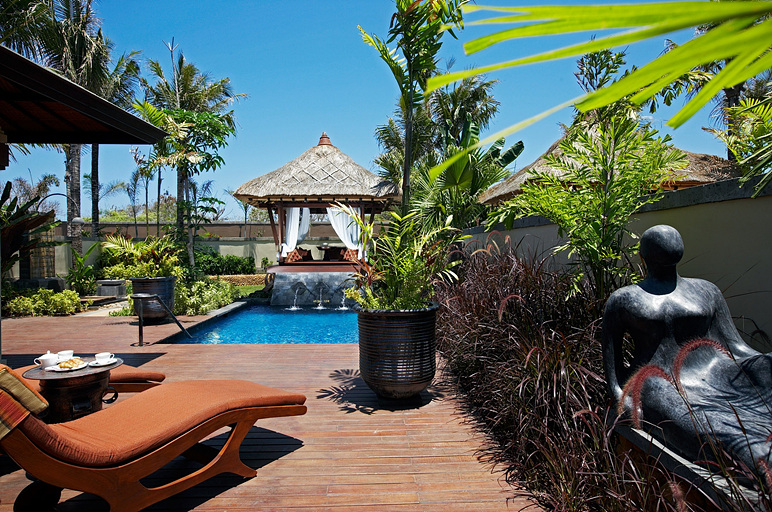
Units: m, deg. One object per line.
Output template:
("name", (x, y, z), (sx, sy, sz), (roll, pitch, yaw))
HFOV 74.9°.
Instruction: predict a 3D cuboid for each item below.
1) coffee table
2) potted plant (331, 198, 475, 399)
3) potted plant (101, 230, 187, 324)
("coffee table", (-2.556, 1.100, 4.114), (0.585, 0.369, 0.582), (0, 3, 22))
("potted plant", (0.324, 0.256, 6.480), (1.188, 2.020, 3.600), (-1, 9, 7))
("potted plant", (-5.055, 0.491, 10.526), (1.987, 1.952, 1.577), (0, -8, -11))
